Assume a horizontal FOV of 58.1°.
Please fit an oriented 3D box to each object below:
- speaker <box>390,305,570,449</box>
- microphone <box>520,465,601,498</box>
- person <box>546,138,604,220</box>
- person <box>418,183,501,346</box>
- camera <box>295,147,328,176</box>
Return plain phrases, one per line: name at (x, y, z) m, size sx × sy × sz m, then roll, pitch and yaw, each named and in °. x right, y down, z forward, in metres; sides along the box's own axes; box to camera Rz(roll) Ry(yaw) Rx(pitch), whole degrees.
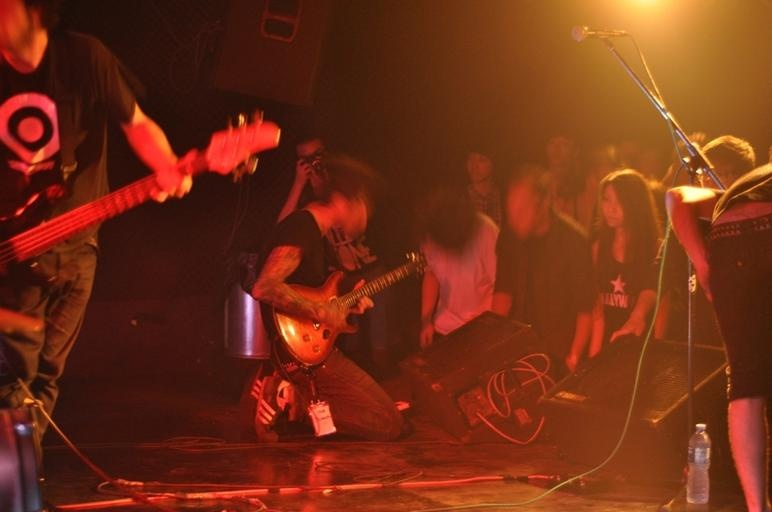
speaker at (0.687, 0.867, 5.066) m, size 0.894 × 0.695 × 0.929 m, roll -26°, pitch 6°, yaw -11°
microphone at (1.053, 1.332, 4.095) m, size 0.295 × 0.055 × 0.151 m, roll -9°, pitch 18°, yaw 3°
person at (1.597, -0.625, 6.175) m, size 0.519 × 0.738 × 0.214 m, roll -16°, pitch -5°, yaw -20°
person at (0.651, 0.129, 5.983) m, size 0.812 × 1.196 × 0.350 m, roll 4°, pitch 0°, yaw 29°
camera at (-0.630, -0.834, 5.979) m, size 0.186 × 0.265 × 0.265 m, roll 9°, pitch 30°, yaw 43°
